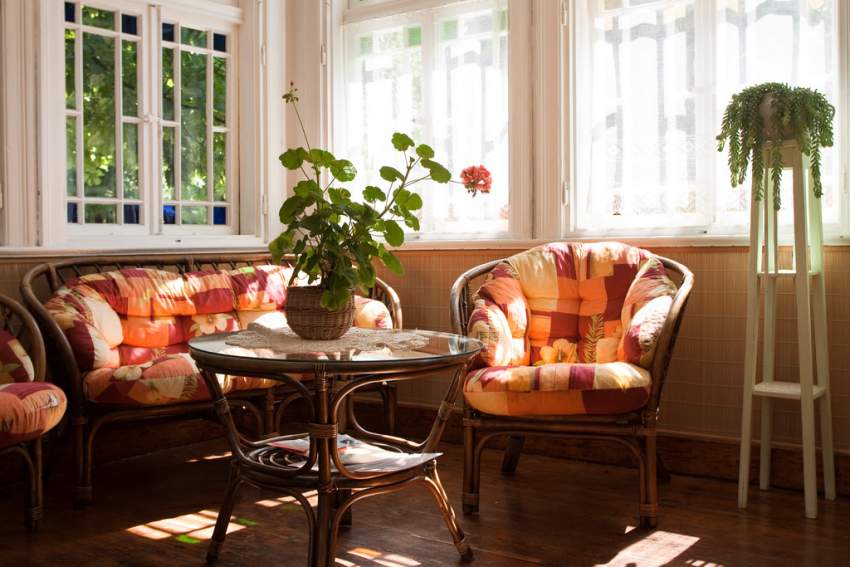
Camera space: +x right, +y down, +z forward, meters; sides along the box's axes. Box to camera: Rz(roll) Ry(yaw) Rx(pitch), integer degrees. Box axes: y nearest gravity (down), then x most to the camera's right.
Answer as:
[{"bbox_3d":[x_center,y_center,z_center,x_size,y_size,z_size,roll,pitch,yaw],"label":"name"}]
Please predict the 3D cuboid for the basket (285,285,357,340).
[{"bbox_3d":[-0.409,0.115,2.610,0.249,0.156,0.238,1,-3,-34],"label":"basket"}]

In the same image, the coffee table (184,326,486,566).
[{"bbox_3d":[-0.285,0.520,2.524,1.058,0.689,1.048,1,2,37],"label":"coffee table"}]

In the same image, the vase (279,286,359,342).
[{"bbox_3d":[-0.416,0.124,2.696,0.288,0.188,0.282,1,-1,-16],"label":"vase"}]

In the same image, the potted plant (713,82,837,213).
[{"bbox_3d":[1.471,-0.647,3.266,0.660,0.568,0.574,-7,10,-16],"label":"potted plant"}]

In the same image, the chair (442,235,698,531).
[{"bbox_3d":[0.715,0.401,3.491,1.319,1.238,1.338,0,-2,17],"label":"chair"}]
